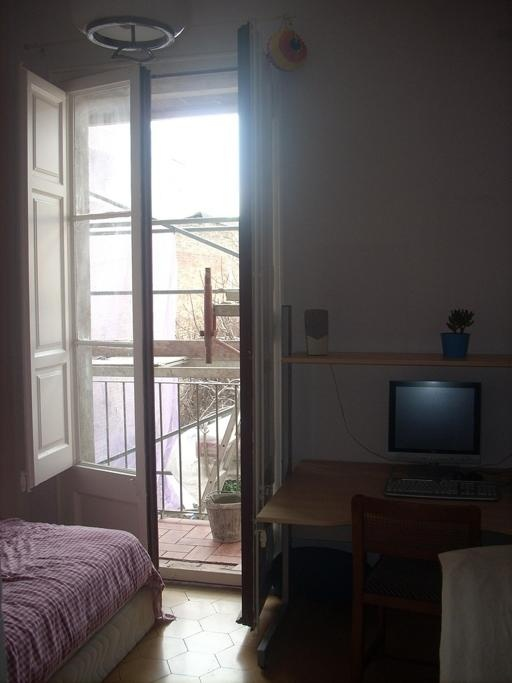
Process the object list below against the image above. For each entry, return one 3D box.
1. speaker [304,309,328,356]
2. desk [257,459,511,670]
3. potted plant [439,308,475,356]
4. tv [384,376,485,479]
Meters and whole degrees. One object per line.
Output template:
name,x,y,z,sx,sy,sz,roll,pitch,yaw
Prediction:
speaker,0.219,-0.031,2.248,0.078,0.177,0.110,-2,2,10
desk,0.304,0.848,2.053,0.861,0.481,0.593,-1,-1,14
potted plant,0.730,-0.027,2.201,0.093,0.183,0.091,1,-7,31
tv,0.661,0.340,2.235,0.336,0.386,0.117,-1,-34,21
